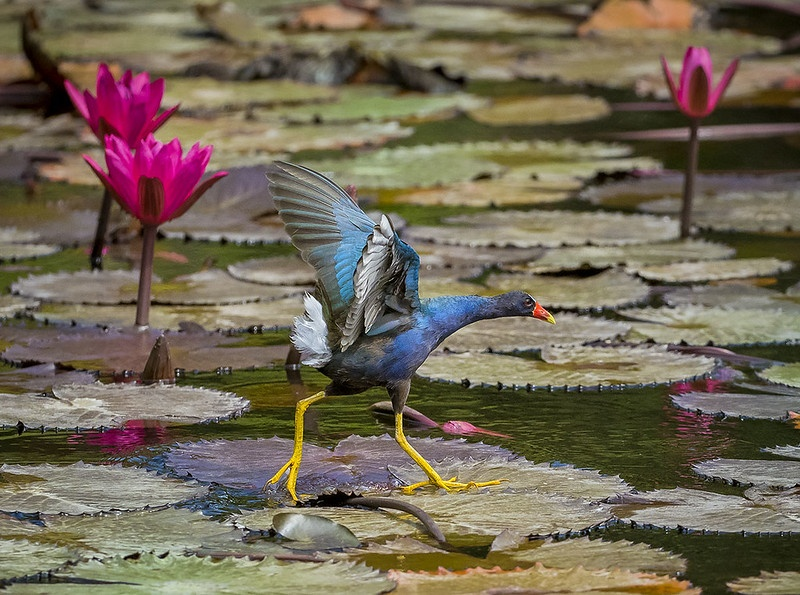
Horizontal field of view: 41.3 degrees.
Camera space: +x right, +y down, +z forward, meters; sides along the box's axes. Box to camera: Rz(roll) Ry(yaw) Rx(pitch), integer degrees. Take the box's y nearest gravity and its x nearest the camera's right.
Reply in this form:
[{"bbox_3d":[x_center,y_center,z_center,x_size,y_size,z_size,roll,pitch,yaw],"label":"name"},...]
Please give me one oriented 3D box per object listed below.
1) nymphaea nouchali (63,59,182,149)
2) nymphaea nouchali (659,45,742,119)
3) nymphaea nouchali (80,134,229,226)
[{"bbox_3d":[-1.429,-1.049,5.734,0.614,0.456,0.596,13,25,30],"label":"nymphaea nouchali"},{"bbox_3d":[2.036,-1.434,7.200,0.570,0.525,0.428,9,31,31],"label":"nymphaea nouchali"},{"bbox_3d":[-1.143,-0.607,5.404,0.754,0.446,0.711,-2,19,2],"label":"nymphaea nouchali"}]
